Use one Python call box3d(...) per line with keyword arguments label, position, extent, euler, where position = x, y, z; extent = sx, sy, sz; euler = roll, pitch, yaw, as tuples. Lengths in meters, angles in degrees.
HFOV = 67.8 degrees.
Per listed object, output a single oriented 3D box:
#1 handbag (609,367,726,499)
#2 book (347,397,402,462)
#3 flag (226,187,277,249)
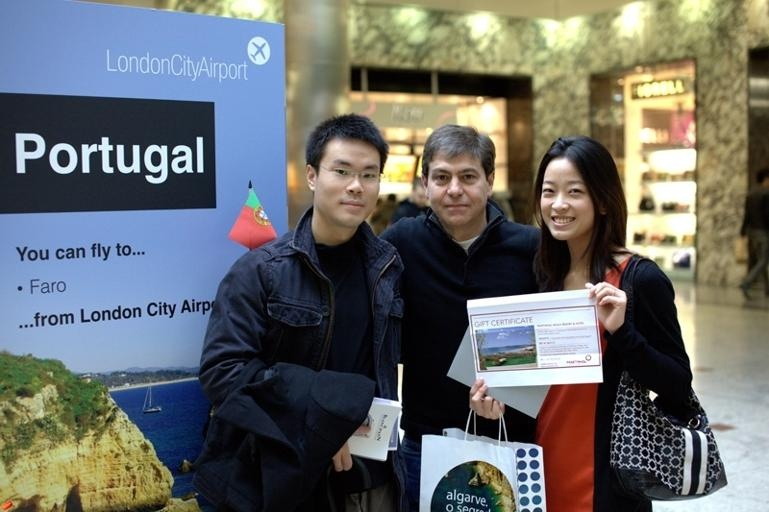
box3d(label="handbag", position=(1.099, 0.699, 2.222), extent=(0.435, 0.473, 0.169), euler=(-1, 9, -5))
box3d(label="book", position=(-0.015, 0.646, 2.163), extent=(0.230, 0.240, 0.057), euler=(17, 1, 9))
box3d(label="flag", position=(-0.562, -0.168, 2.479), extent=(0.215, 0.298, 0.008), euler=(1, 29, -17))
